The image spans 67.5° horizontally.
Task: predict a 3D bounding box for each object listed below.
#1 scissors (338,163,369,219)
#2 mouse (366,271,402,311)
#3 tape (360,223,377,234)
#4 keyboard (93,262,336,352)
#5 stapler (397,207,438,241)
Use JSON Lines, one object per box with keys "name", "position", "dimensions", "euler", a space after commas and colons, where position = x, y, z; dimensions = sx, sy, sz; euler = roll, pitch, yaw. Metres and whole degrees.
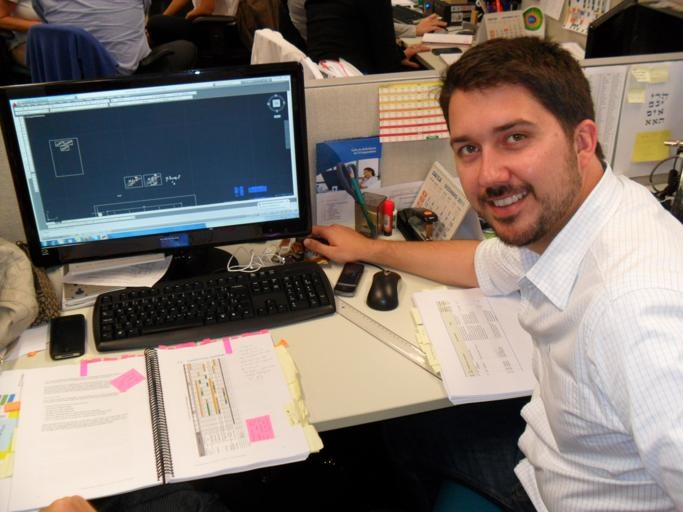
{"name": "scissors", "position": [0.031, -0.238, 1.664], "dimensions": [0.056, 0.224, 0.067], "euler": [-28, 10, 7]}
{"name": "mouse", "position": [0.130, 0.088, 1.493], "dimensions": [0.096, 0.052, 0.167], "euler": [8, 42, 11]}
{"name": "tape", "position": [0.090, -0.095, 1.715], "dimensions": [0.031, 0.015, 0.043], "euler": [14, 18, 37]}
{"name": "keyboard", "position": [-0.362, 0.133, 1.422], "dimensions": [0.627, 0.066, 0.249], "euler": [-11, 35, -18]}
{"name": "stapler", "position": [0.244, -0.117, 1.733], "dimensions": [0.060, 0.079, 0.209], "euler": [-8, 38, -15]}
